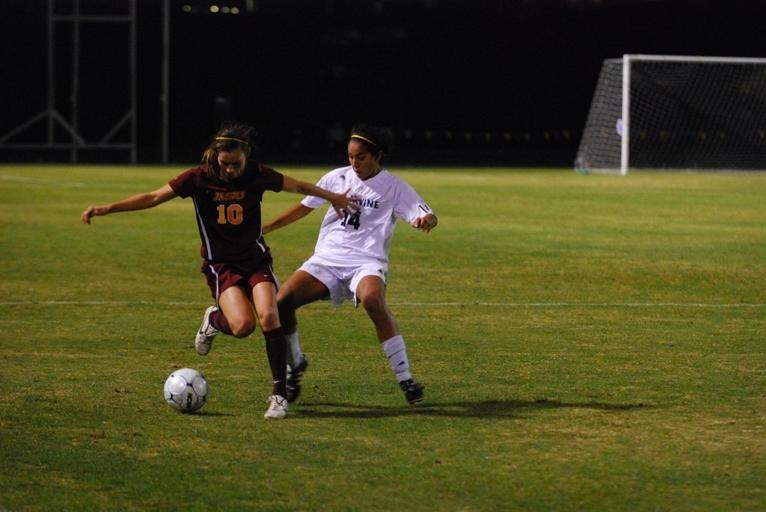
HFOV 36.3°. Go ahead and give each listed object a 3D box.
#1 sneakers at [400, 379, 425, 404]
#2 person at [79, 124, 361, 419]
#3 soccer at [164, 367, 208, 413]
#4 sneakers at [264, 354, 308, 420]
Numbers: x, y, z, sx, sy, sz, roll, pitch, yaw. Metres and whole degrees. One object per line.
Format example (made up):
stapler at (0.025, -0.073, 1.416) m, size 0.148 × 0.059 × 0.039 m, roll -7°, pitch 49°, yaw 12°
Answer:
sneakers at (0.279, 1.295, 11.307) m, size 0.240 × 0.263 × 0.220 m, roll 1°, pitch 11°, yaw 0°
person at (-1.398, 0.057, 11.509) m, size 1.649 × 2.695 × 1.166 m, roll 7°, pitch 13°, yaw 26°
soccer at (-1.875, 1.260, 11.091) m, size 0.505 × 0.370 × 0.417 m, roll -1°, pitch -9°, yaw -2°
sneakers at (-1.010, 1.284, 11.259) m, size 0.242 × 0.255 × 0.607 m, roll 21°, pitch 48°, yaw 8°
